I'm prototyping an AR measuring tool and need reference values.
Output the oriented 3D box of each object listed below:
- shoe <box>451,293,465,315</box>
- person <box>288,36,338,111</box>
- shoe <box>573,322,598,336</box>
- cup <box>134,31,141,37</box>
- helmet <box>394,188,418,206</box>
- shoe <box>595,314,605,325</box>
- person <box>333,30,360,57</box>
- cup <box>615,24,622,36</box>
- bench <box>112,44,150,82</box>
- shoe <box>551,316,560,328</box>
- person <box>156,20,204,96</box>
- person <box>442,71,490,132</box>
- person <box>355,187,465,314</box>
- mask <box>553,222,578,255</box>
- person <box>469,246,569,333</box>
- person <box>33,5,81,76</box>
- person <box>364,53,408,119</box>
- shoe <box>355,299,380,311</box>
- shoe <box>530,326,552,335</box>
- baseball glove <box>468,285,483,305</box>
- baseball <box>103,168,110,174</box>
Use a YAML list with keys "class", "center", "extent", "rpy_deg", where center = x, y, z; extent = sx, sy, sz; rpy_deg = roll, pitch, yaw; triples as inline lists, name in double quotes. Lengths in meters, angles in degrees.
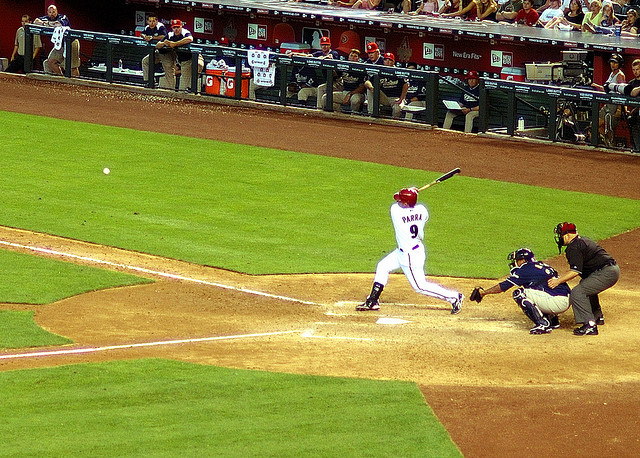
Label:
- class: "shoe"
  center: [2.195, 1.193, 20.785]
  extent: [0.182, 0.346, 0.122]
  rpy_deg: [5, 29, -7]
- class: "person"
  center: [-0.069, -3.839, 33.086]
  extent: [0.924, 1.829, 1.557]
  rpy_deg: [6, 4, 0]
- class: "shoe"
  center: [4.066, 1.530, 20.015]
  extent: [0.373, 0.156, 0.151]
  rpy_deg: [3, 2, 9]
- class: "cup"
  center: [-5.393, -5.665, 38.734]
  extent: [0.225, 0.184, 0.106]
  rpy_deg: [1, 11, 3]
- class: "helmet"
  center: [1.342, -0.482, 20.507]
  extent: [0.349, 0.205, 0.167]
  rpy_deg: [10, -19, 4]
- class: "shoe"
  center: [4.322, 1.390, 20.237]
  extent: [0.155, 0.117, 0.319]
  rpy_deg: [0, 5, 6]
- class: "person"
  center: [0.708, -4.731, 34.434]
  extent: [0.633, 0.387, 0.794]
  rpy_deg: [15, 34, 12]
- class: "cup"
  center: [7.131, -4.658, 31.333]
  extent: [0.149, 0.288, 0.276]
  rpy_deg: [7, 4, 8]
- class: "bench"
  center: [-5.140, -4.363, 34.944]
  extent: [1.443, 0.845, 0.336]
  rpy_deg: [7, 10, 30]
- class: "shoe"
  center: [3.666, 1.423, 20.278]
  extent: [0.070, 0.176, 0.212]
  rpy_deg: [10, 6, 39]
- class: "person"
  center: [-3.615, -4.359, 34.077]
  extent: [1.162, 1.840, 0.885]
  rpy_deg: [7, 4, 11]
- class: "person"
  center: [3.564, -2.952, 31.204]
  extent: [0.557, 1.373, 1.188]
  rpy_deg: [4, 5, -29]
- class: "person"
  center: [1.441, 0.363, 20.656]
  extent: [1.533, 2.007, 0.364]
  rpy_deg: [6, 4, -1]
- class: "mask"
  center: [3.782, 0.079, 20.323]
  extent: [0.450, 0.448, 0.361]
  rpy_deg: [2, 3, 19]
- class: "person"
  center: [3.271, 0.866, 20.528]
  extent: [1.547, 1.139, 1.104]
  rpy_deg: [-2, 12, 37]
- class: "person"
  center: [-7.113, -5.044, 35.784]
  extent: [0.930, 1.820, 1.591]
  rpy_deg: [2, 6, -43]
- class: "person"
  center: [1.601, -3.357, 32.037]
  extent: [1.140, 1.654, 0.981]
  rpy_deg: [11, 43, 17]
- class: "shoe"
  center: [0.769, 1.208, 20.767]
  extent: [0.424, 0.167, 0.143]
  rpy_deg: [1, 9, 2]
- class: "shoe"
  center: [3.386, 1.538, 20.112]
  extent: [0.338, 0.132, 0.110]
  rpy_deg: [-3, 8, -11]
- class: "baseball glove"
  center: [2.432, 1.061, 20.460]
  extent: [0.214, 0.331, 0.127]
  rpy_deg: [-5, 11, -2]
- class: "baseball"
  center: [-4.401, -1.156, 26.928]
  extent: [0.128, 0.111, 0.296]
  rpy_deg: [5, 4, -11]
